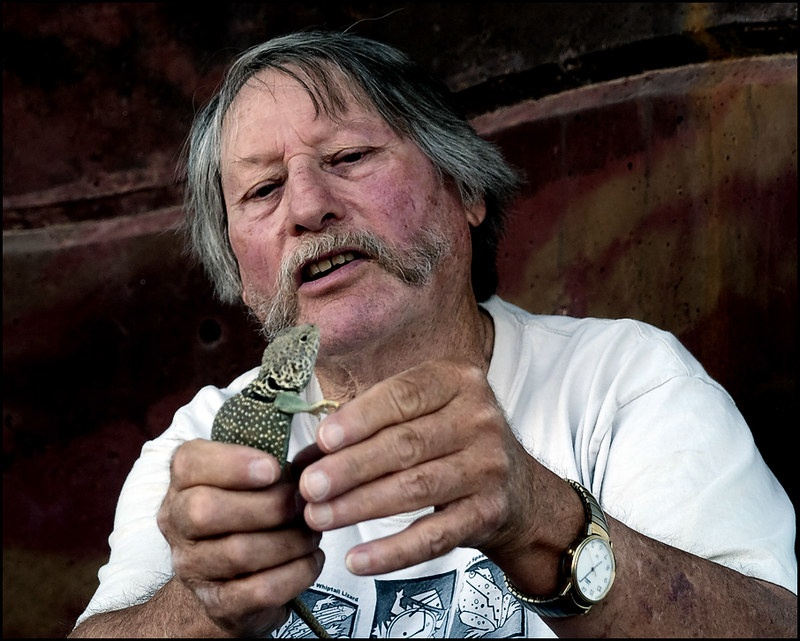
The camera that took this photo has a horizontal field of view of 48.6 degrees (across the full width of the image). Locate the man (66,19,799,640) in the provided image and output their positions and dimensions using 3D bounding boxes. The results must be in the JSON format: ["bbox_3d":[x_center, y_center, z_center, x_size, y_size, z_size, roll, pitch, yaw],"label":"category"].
[{"bbox_3d":[0.013,-0.025,3.037,1.612,1.441,1.200,-27,-15,7],"label":"man"}]

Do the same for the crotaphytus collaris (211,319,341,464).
[{"bbox_3d":[-0.308,0.226,2.498,0.269,0.143,0.415,18,75,38],"label":"crotaphytus collaris"}]

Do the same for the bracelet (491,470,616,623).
[{"bbox_3d":[0.475,0.657,2.464,0.293,0.253,0.416,-26,45,37],"label":"bracelet"}]
